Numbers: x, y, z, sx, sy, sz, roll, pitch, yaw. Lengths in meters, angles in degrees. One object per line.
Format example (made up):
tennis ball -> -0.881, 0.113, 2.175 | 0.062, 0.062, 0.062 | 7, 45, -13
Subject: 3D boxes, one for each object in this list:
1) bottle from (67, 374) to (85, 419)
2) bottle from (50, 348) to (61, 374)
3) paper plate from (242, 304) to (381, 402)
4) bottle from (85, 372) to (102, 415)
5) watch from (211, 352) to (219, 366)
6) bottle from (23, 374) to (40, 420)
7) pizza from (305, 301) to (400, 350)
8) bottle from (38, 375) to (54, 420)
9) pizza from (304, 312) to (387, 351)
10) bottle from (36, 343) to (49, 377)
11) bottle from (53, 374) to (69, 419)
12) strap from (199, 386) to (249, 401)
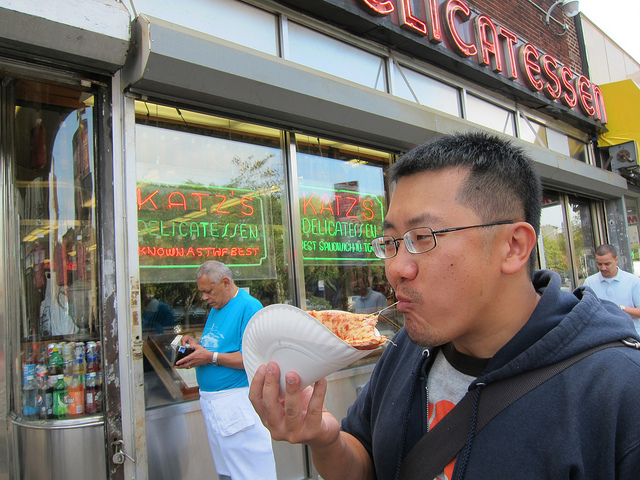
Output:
bottle -> -1.673, 1.071, 3.271 | 0.128, 0.274, 0.088 | -9, -8, 43
bottle -> -1.885, 0.866, 3.390 | 0.080, 0.167, 0.017 | -4, -6, 6
paper plate -> -0.039, 0.366, 1.940 | 0.487, 0.406, 0.525 | 5, 2, -8
bottle -> -1.559, 1.058, 3.278 | 0.118, 0.270, 0.074 | -6, -6, 21
watch -> -0.793, 0.906, 3.599 | 0.056, 0.091, 0.089 | 4, 3, 2
bottle -> -2.022, 1.097, 3.338 | 0.158, 0.293, 0.053 | -6, -6, 21
pizza -> 0.117, 0.344, 1.855 | 0.287, 0.114, 0.185 | -10, 6, 16
bottle -> -1.912, 1.094, 3.320 | 0.127, 0.285, 0.073 | -8, -8, 39
pizza -> 0.122, 0.342, 1.851 | 0.185, 0.055, 0.218 | 26, -9, -37
bottle -> -1.983, 0.859, 3.404 | 0.111, 0.234, 0.042 | -5, -6, 17
bottle -> -1.785, 1.082, 3.288 | 0.154, 0.279, 0.062 | -8, -7, 34
strap -> -0.748, 1.162, 3.601 | 0.180, 0.049, 0.153 | -5, -4, -9
